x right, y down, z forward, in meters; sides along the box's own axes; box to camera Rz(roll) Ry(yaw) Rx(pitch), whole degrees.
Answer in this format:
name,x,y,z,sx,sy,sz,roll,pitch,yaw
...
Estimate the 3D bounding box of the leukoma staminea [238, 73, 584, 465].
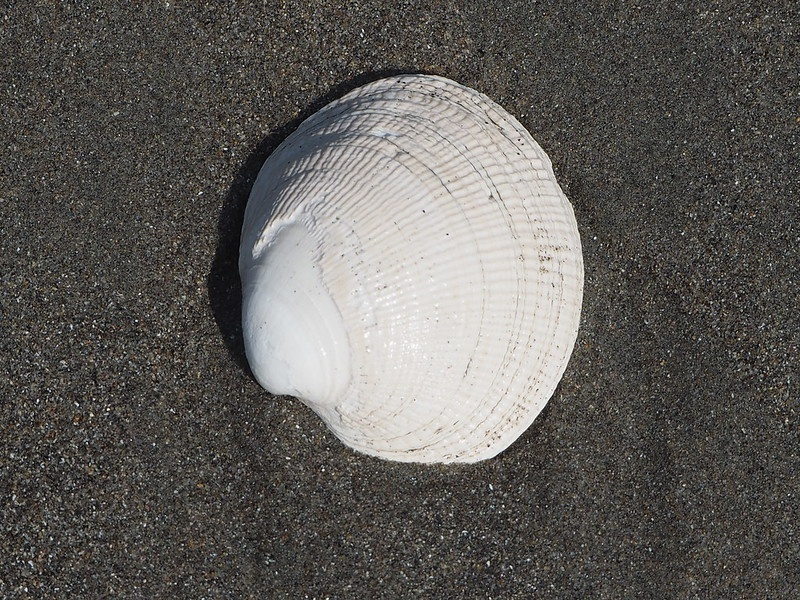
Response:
name,x,y,z,sx,sy,sz,roll,pitch,yaw
leukoma staminea,0.094,-0.163,4.896,1.690,0.684,1.905,4,85,-2
